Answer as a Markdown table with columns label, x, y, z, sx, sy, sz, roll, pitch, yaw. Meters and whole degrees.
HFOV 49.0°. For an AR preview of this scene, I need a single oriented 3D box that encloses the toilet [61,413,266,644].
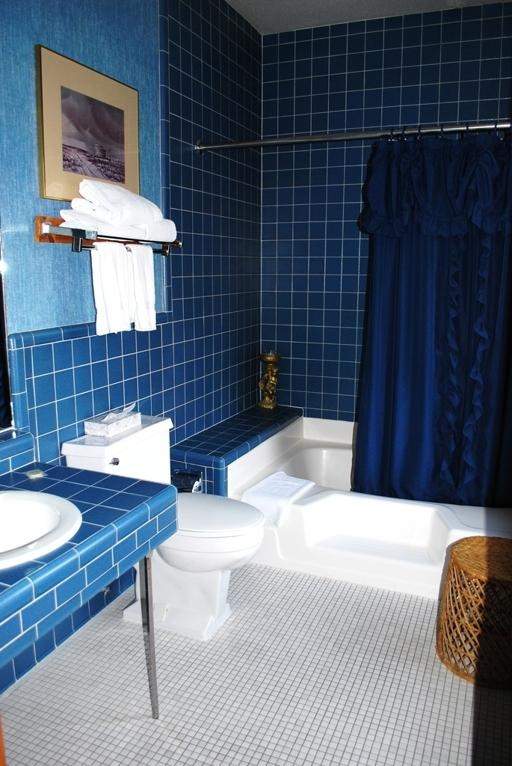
| label | x | y | z | sx | sy | sz | roll | pitch | yaw |
| --- | --- | --- | --- | --- | --- | --- | --- | --- | --- |
| toilet | -0.281 | 0.497 | 1.986 | 0.598 | 0.689 | 0.440 | 4 | 11 | 17 |
